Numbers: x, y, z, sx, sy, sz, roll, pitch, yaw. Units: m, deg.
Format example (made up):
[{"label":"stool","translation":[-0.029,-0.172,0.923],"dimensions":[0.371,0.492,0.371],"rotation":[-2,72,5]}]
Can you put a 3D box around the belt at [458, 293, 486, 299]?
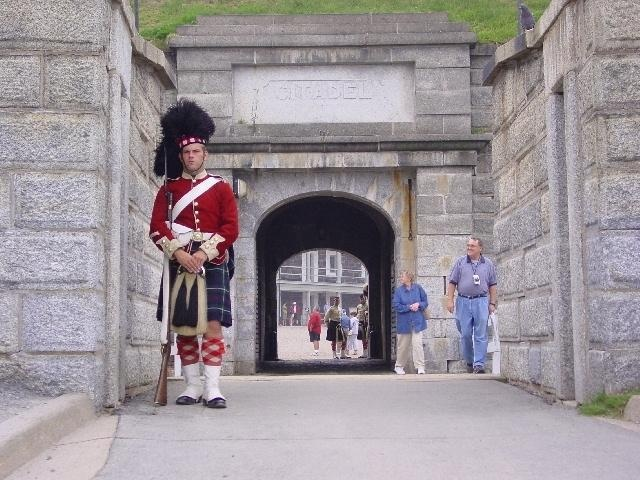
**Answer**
[{"label":"belt","translation":[1.862,0.676,12.675],"dimensions":[0.324,0.053,0.121],"rotation":[-1,-2,8]}]

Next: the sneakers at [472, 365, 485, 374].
[{"label":"sneakers","translation":[1.941,1.560,12.748],"dimensions":[0.128,0.113,0.335],"rotation":[-1,-2,6]}]

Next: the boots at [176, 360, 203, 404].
[{"label":"boots","translation":[-1.077,1.173,8.603],"dimensions":[0.179,0.365,0.396],"rotation":[-2,1,17]}]

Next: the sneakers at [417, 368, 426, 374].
[{"label":"sneakers","translation":[1.418,1.815,14.625],"dimensions":[0.113,0.049,0.161],"rotation":[-1,-3,2]}]

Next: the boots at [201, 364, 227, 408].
[{"label":"boots","translation":[-0.848,1.159,8.405],"dimensions":[0.169,0.356,0.491],"rotation":[-1,4,-15]}]

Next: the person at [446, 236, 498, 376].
[{"label":"person","translation":[1.902,0.800,12.833],"dimensions":[0.490,1.599,0.448],"rotation":[2,-3,-39]}]

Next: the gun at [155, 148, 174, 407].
[{"label":"gun","translation":[-1.275,0.708,8.456],"dimensions":[0.130,1.219,0.503],"rotation":[0,-3,-9]}]

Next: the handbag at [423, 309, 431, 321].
[{"label":"handbag","translation":[1.509,1.050,14.844],"dimensions":[0.093,0.249,0.251],"rotation":[-6,-3,13]}]

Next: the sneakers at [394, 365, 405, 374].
[{"label":"sneakers","translation":[1.136,1.828,14.822],"dimensions":[0.142,0.101,0.255],"rotation":[2,-5,-13]}]

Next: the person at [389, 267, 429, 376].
[{"label":"person","translation":[1.282,1.147,14.736],"dimensions":[0.457,1.429,0.467],"rotation":[-1,-3,5]}]

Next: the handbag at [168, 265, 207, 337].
[{"label":"handbag","translation":[-1.052,0.494,8.336],"dimensions":[0.282,0.529,0.151],"rotation":[0,-3,-15]}]

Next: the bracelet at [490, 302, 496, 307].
[{"label":"bracelet","translation":[2.123,0.785,12.818],"dimensions":[0.063,0.060,0.062],"rotation":[2,-7,-2]}]
